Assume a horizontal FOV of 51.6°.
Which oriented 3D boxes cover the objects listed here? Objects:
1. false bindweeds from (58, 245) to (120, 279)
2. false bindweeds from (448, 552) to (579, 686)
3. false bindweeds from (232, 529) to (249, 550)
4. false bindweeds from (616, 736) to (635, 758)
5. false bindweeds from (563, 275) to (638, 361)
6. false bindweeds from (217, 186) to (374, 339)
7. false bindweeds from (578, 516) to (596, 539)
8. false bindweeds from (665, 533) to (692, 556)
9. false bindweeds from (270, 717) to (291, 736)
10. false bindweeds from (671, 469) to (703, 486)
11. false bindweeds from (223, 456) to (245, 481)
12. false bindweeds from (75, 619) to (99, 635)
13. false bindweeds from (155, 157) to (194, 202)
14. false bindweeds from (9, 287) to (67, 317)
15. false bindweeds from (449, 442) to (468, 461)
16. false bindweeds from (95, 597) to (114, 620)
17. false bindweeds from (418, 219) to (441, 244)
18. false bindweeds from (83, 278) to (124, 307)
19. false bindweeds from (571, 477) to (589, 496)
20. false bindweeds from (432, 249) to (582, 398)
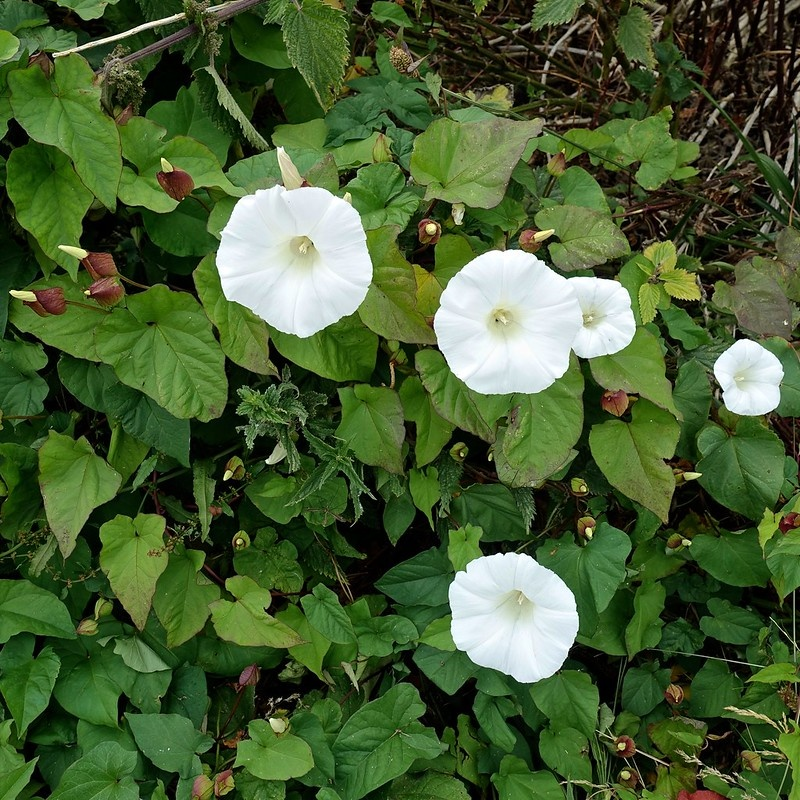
[{"bbox_3d":[-0.862,-0.382,2.273,0.065,0.176,0.085,-49,51,29],"label":"false bindweeds"},{"bbox_3d":[0.292,0.572,2.225,0.345,0.224,0.276,22,69,7],"label":"false bindweeds"},{"bbox_3d":[-0.493,0.428,2.557,0.048,0.025,0.062,10,90,12],"label":"false bindweeds"},{"bbox_3d":[0.705,1.086,2.608,0.065,0.031,0.066,1,96,16],"label":"false bindweeds"},{"bbox_3d":[0.557,-0.231,2.272,0.222,0.082,0.223,-2,86,-10],"label":"false bindweeds"},{"bbox_3d":[-0.254,-0.348,2.008,0.365,0.223,0.288,25,70,8],"label":"false bindweeds"},{"bbox_3d":[0.553,0.376,2.457,0.059,0.100,0.061,1,68,-1],"label":"false bindweeds"},{"bbox_3d":[0.884,0.461,2.665,0.079,0.038,0.061,-43,86,-2],"label":"false bindweeds"},{"bbox_3d":[-0.360,0.950,2.423,0.057,0.092,0.045,4,68,1],"label":"false bindweeds"},{"bbox_3d":[0.882,0.235,2.550,0.060,0.085,0.030,27,81,-6],"label":"false bindweeds"},{"bbox_3d":[-0.501,0.202,2.492,0.053,0.026,0.079,6,94,-13],"label":"false bindweeds"},{"bbox_3d":[-0.942,0.692,2.499,0.056,0.017,0.057,-25,84,-40],"label":"false bindweeds"},{"bbox_3d":[-0.599,-0.591,2.199,0.087,0.115,0.071,-4,107,18],"label":"false bindweeds"},{"bbox_3d":[-0.956,-0.269,2.197,0.125,0.075,0.073,8,105,1],"label":"false bindweeds"},{"bbox_3d":[0.176,0.155,2.530,0.055,0.027,0.052,-15,101,3],"label":"false bindweeds"},{"bbox_3d":[-0.909,0.622,2.518,0.057,0.030,0.072,24,99,44],"label":"false bindweeds"},{"bbox_3d":[0.079,-0.466,2.265,0.055,0.024,0.065,2,103,11],"label":"false bindweeds"},{"bbox_3d":[-0.784,-0.290,2.200,0.090,0.069,0.076,-3,77,-8],"label":"false bindweeds"},{"bbox_3d":[0.548,0.260,2.542,0.052,0.073,0.053,-6,68,-4],"label":"false bindweeds"},{"bbox_3d":[0.261,-0.191,2.044,0.341,0.168,0.322,19,69,5],"label":"false bindweeds"}]
